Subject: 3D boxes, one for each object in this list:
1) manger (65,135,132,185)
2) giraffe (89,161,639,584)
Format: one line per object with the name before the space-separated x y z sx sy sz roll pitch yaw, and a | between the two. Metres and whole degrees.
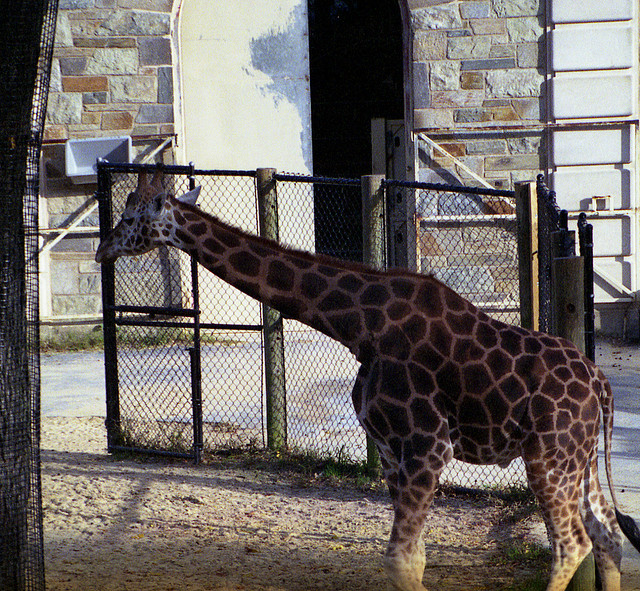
manger | -3.026 -1.867 24.605 0.818 0.758 0.337 -3 2 13
giraffe | 0.739 0.824 16.969 4.100 3.553 1.241 2 7 22
